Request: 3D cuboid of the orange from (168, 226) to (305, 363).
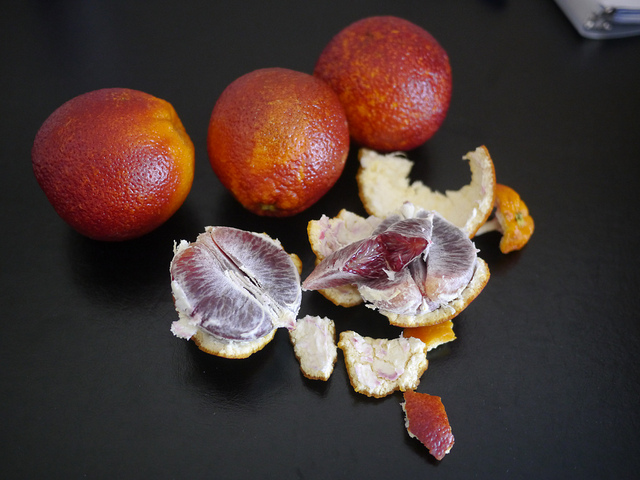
[{"bbox_3d":[-0.270,0.157,2.173,0.427,0.133,0.418,5,76,-4],"label":"orange"}]
